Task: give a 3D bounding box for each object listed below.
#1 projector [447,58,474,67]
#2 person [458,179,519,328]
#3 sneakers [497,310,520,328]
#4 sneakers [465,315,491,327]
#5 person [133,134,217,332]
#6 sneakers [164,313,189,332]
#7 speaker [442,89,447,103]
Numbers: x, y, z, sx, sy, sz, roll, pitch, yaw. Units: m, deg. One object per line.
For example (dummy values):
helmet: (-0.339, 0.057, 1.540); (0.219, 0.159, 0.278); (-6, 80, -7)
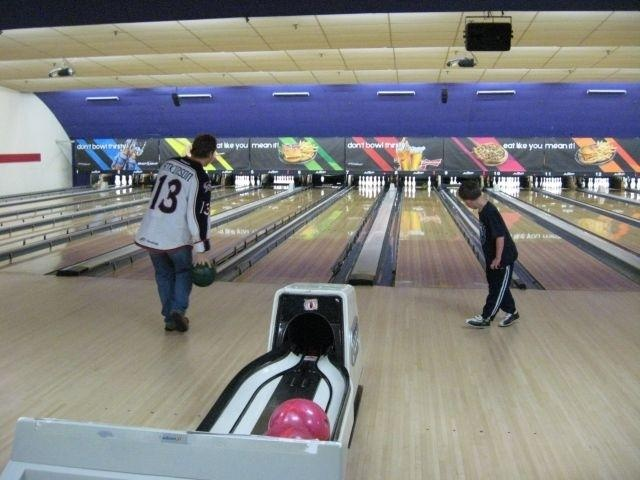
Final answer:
projector: (2.172, -2.762, 6.458); (0.348, 0.103, 0.257); (8, 24, 22)
person: (1.134, 0.097, 2.808); (0.411, 0.996, 0.471); (3, 12, 25)
sneakers: (1.251, 0.531, 2.760); (0.198, 0.077, 0.065); (-19, 3, -15)
sneakers: (1.058, 0.536, 2.779); (0.139, 0.055, 0.075); (4, 1, 3)
person: (-0.908, -0.032, 2.674); (0.496, 1.255, 0.324); (1, 12, 16)
sneakers: (-0.923, 0.535, 2.664); (0.092, 0.174, 0.072); (3, 52, -10)
speaker: (3.055, -3.555, 10.253); (0.153, 0.311, 0.287); (1, 11, 15)
